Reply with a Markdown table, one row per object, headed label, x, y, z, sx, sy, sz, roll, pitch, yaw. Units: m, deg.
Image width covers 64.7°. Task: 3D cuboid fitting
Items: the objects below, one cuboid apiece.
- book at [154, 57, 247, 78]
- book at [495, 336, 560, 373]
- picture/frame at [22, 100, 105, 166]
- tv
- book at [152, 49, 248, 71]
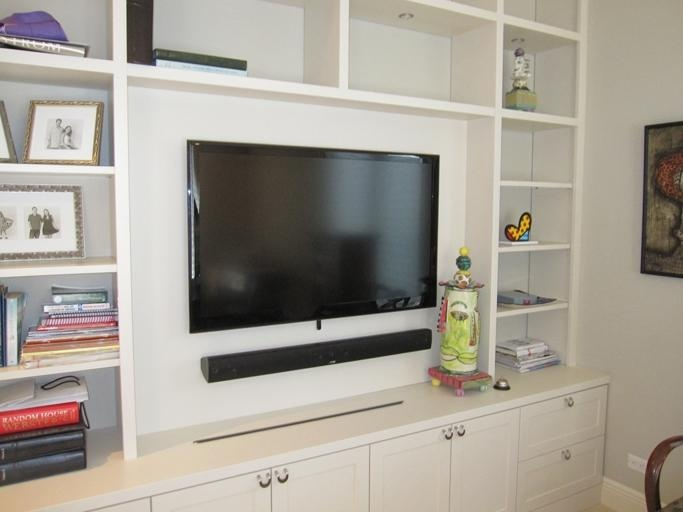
| label | x | y | z | sx | sy | sz | roll | pitch | yaw |
| --- | --- | --- | --- | --- | --- | --- | --- | --- | --- |
| book | -0.654 | -0.887 | 2.547 | 0.412 | 0.078 | 0.055 | -5 | 7 | -16 |
| book | 1.222 | 0.649 | 3.547 | 0.242 | 0.090 | 0.241 | -2 | 5 | -34 |
| picture/frame | -1.232 | -0.547 | 2.402 | 0.308 | 0.326 | 0.035 | 2 | -10 | -16 |
| tv | -0.188 | -0.122 | 2.849 | 1.044 | 0.714 | 0.036 | -2 | 4 | -25 |
| book | -0.674 | -0.924 | 2.538 | 0.224 | 0.046 | 0.149 | -5 | 10 | -39 |
